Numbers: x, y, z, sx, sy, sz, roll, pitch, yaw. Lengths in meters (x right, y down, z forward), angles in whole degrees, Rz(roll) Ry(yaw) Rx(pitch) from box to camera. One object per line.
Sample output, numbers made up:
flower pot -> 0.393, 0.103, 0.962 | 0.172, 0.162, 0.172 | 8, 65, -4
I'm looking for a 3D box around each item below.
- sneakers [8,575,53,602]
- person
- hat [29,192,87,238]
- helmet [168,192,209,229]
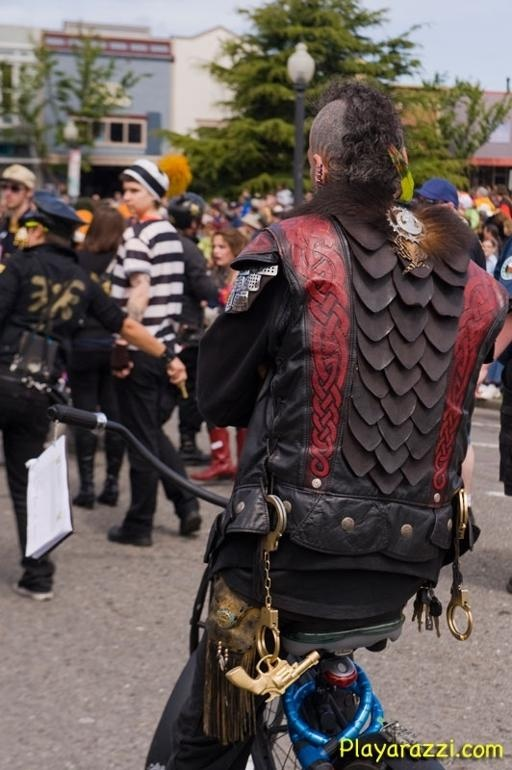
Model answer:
sneakers -> -1.039, 0.952, 4.425 | 0.202, 0.073, 0.082 | 8, 0, 26
person -> 0.166, 0.159, 1.903 | 0.658, 1.519, 0.443 | 2, 10, -6
hat -> -0.961, -0.833, 4.500 | 0.233, 0.078, 0.248 | 18, 13, -44
helmet -> -0.507, -1.269, 7.009 | 0.243, 0.254, 0.294 | 17, 45, 26
